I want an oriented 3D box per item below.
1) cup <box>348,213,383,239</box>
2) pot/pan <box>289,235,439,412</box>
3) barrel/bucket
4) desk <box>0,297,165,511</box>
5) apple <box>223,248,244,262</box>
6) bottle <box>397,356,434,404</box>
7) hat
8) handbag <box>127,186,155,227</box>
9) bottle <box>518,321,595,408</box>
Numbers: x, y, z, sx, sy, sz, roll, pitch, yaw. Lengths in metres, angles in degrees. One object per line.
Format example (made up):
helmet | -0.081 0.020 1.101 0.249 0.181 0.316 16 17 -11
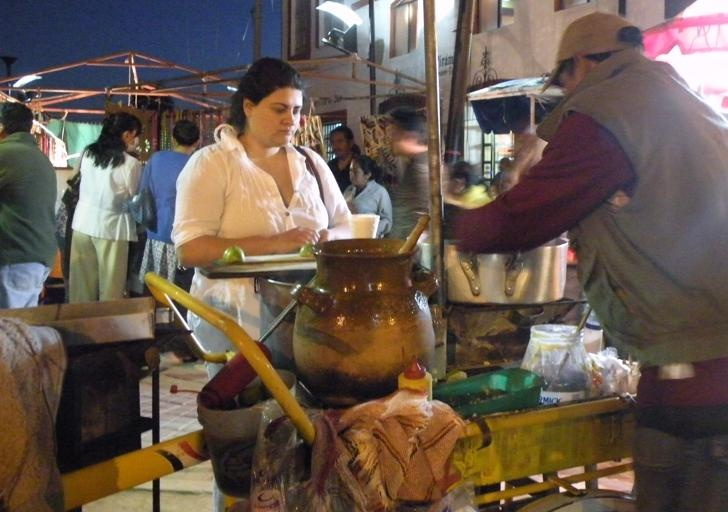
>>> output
cup | 0.007 -0.145 2.939 0.127 0.107 0.134 2 6 0
pot/pan | 0.028 0.202 2.325 0.611 0.567 0.489 -1 -1 -43
barrel/bucket | -0.380 0.580 2.102 0.223 0.359 0.301 0 5 21
desk | -0.994 0.467 2.513 0.704 0.655 0.550 -4 10 -32
apple | -0.572 0.001 2.838 0.071 0.062 0.070 4 -3 -30
bottle | 0.165 0.400 2.080 0.110 0.138 0.180 -2 5 4
hat | 0.964 -0.861 2.791 0.390 0.233 0.263 -5 3 42
handbag | -2.192 -0.459 6.239 0.357 0.323 0.290 5 -15 -9
bottle | 0.727 0.426 2.513 0.279 0.277 0.253 0 0 6
